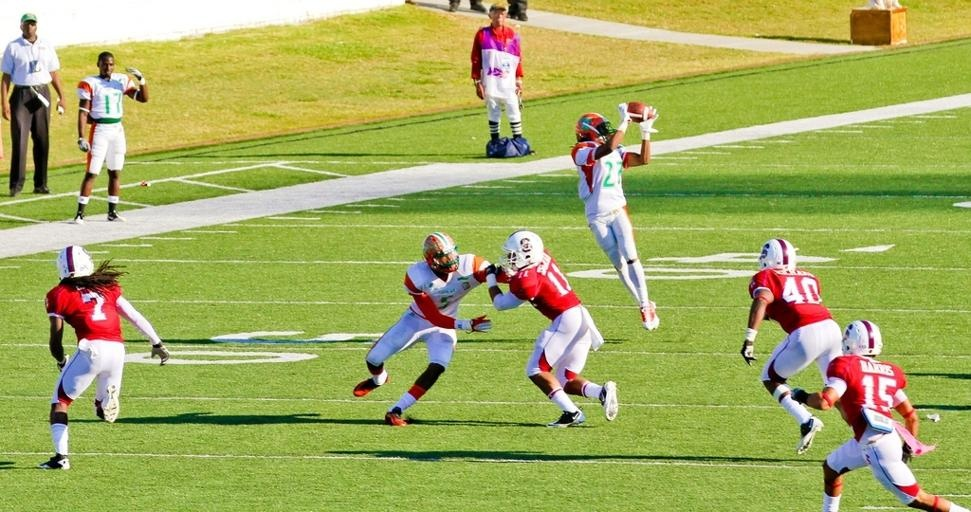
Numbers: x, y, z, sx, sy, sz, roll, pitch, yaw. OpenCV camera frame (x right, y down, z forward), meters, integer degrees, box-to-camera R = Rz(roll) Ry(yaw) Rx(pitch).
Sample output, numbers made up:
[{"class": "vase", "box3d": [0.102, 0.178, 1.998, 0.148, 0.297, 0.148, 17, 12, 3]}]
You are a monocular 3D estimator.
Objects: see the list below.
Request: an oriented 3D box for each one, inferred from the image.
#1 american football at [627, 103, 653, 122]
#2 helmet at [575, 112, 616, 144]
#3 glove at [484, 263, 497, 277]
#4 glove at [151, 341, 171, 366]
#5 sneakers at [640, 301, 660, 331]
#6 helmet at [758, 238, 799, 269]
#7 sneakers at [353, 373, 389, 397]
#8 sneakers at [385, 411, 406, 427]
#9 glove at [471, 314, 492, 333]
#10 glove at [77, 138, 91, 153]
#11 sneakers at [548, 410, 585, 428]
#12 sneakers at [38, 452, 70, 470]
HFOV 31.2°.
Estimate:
[{"class": "american football", "box3d": [2.668, -2.476, 30.000, 0.354, 0.205, 0.447, 5, -6, 39]}, {"class": "helmet", "box3d": [1.851, -2.253, 30.440, 0.716, 0.415, 0.467, -8, 13, 11]}, {"class": "glove", "box3d": [0.082, 0.215, 27.890, 0.142, 0.154, 0.179, 26, 24, 33]}, {"class": "glove", "box3d": [-5.215, 1.569, 27.898, 0.270, 0.234, 0.599, -5, -8, -23]}, {"class": "sneakers", "box3d": [2.778, 1.071, 29.786, 0.316, 0.541, 0.252, 18, -40, -39]}, {"class": "helmet", "box3d": [4.668, -0.038, 27.562, 0.527, 0.434, 0.570, 4, 13, -25]}, {"class": "sneakers", "box3d": [-1.892, 2.101, 28.119, 0.739, 0.231, 0.260, -22, 11, 8]}, {"class": "sneakers", "box3d": [-1.466, 2.611, 27.743, 0.345, 0.128, 0.260, 2, 0, -23]}, {"class": "glove", "box3d": [-0.077, 1.121, 28.278, 0.507, 0.247, 0.149, -4, -5, 25]}, {"class": "glove", "box3d": [-7.961, -2.193, 34.357, 0.201, 0.275, 0.373, -4, 9, -12]}, {"class": "sneakers", "box3d": [1.333, 2.603, 27.667, 0.732, 0.247, 0.230, -2, 8, 1]}, {"class": "sneakers", "box3d": [-6.737, 3.191, 26.927, 0.505, 0.170, 0.223, 3, 5, 10]}]
